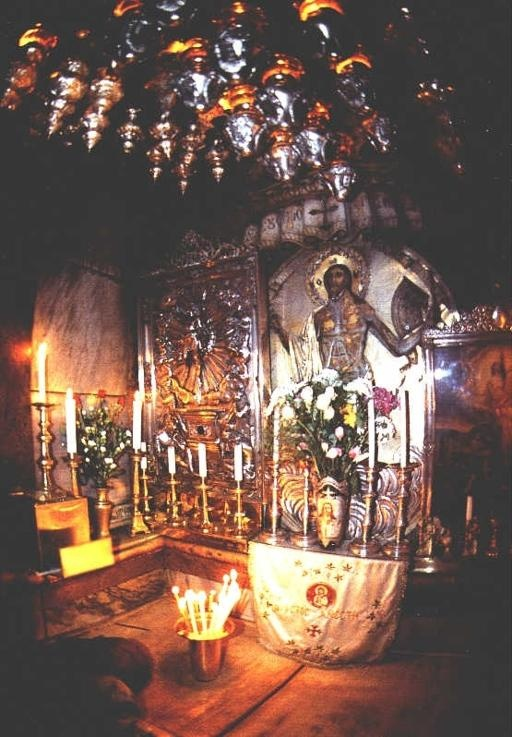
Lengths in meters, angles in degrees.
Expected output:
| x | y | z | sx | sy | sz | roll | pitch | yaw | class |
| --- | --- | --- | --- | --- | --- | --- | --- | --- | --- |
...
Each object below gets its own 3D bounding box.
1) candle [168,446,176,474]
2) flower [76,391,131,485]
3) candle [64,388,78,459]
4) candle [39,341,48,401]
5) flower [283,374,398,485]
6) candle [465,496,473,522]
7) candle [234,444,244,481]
| x | y | z | sx | sy | sz | roll | pitch | yaw | class |
| --- | --- | --- | --- | --- | --- | --- | --- | --- | --- |
| -0.504 | 0.548 | 4.246 | 0.034 | 0.170 | 0.129 | 1 | -4 | -12 | candle |
| -0.927 | 0.440 | 4.362 | 0.296 | 0.540 | 0.497 | -1 | -4 | 5 | flower |
| -0.958 | 0.281 | 3.709 | 0.045 | 0.351 | 0.143 | 1 | -4 | -12 | candle |
| -1.062 | 0.012 | 3.560 | 0.035 | 0.305 | 0.224 | 1 | -4 | -19 | candle |
| 0.353 | 0.312 | 3.654 | 0.449 | 0.592 | 0.356 | 0 | -4 | 1 | flower |
| 1.018 | 0.679 | 3.428 | 0.041 | 0.138 | 0.043 | -3 | -5 | 29 | candle |
| -0.095 | 0.515 | 3.847 | 0.036 | 0.199 | 0.071 | 1 | -4 | -11 | candle |
